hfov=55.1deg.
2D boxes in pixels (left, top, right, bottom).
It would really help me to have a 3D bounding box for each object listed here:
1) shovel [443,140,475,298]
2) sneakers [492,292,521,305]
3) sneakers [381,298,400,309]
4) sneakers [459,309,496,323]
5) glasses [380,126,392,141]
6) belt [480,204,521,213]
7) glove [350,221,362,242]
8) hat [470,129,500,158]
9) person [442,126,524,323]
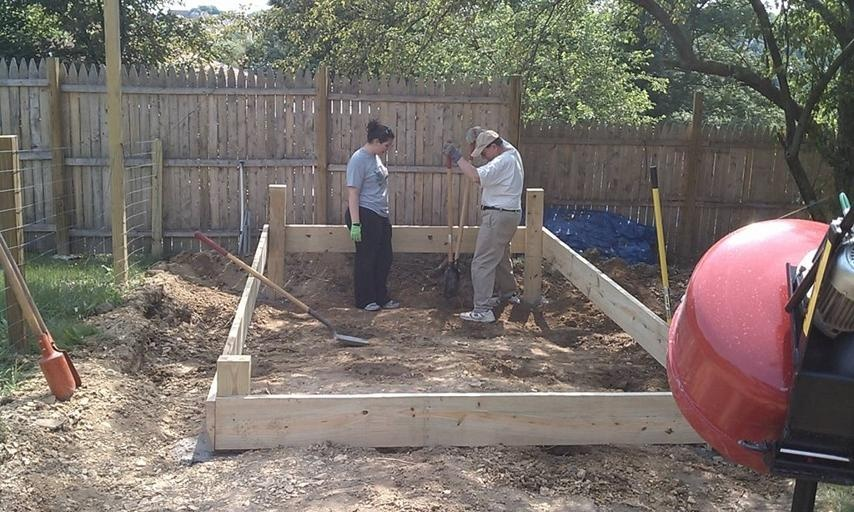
[{"bbox_3d":[0.411,-0.545,12.916,0.703,2.305,0.191,4,0,-10],"label":"shovel"},{"bbox_3d":[1.265,0.643,12.958,0.504,0.237,0.179,1,3,1],"label":"sneakers"},{"bbox_3d":[-0.571,0.719,12.861,0.293,0.138,0.113,-2,18,-7],"label":"sneakers"},{"bbox_3d":[0.773,0.838,12.276,0.555,0.244,0.199,4,4,14],"label":"sneakers"},{"bbox_3d":[-0.602,-1.848,12.414,0.159,0.226,0.209,3,3,13],"label":"glasses"},{"bbox_3d":[1.091,-0.712,12.095,0.545,0.142,0.178,-2,7,2],"label":"belt"},{"bbox_3d":[-1.068,-0.375,12.358,0.163,0.249,0.090,0,3,32],"label":"glove"},{"bbox_3d":[0.852,-1.697,12.273,0.399,0.366,0.407,-1,7,4],"label":"hat"},{"bbox_3d":[0.949,-0.487,12.392,0.953,2.799,0.909,-1,7,5],"label":"person"}]
